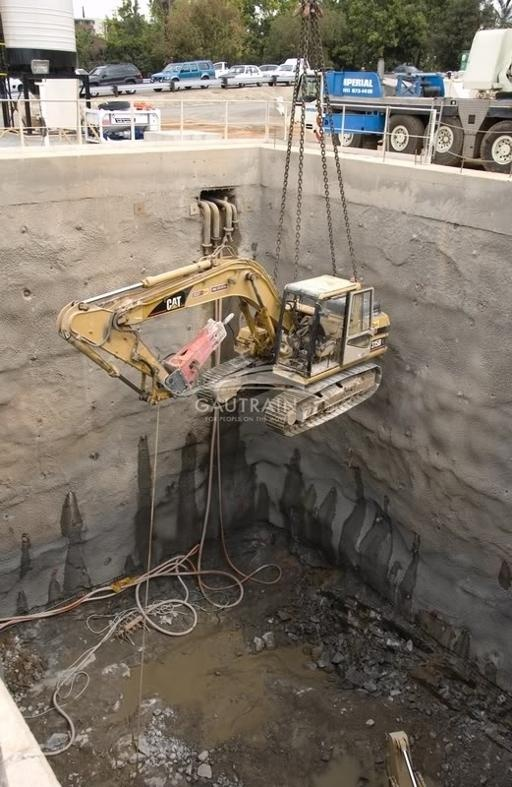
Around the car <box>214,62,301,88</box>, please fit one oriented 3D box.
[{"bbox_3d":[0.085,-17.829,31.003,3.938,1.296,1.802,0,23,-4],"label":"car"}]

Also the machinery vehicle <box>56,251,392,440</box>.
[{"bbox_3d":[-0.047,-0.772,8.439,5.006,2.598,1.796,-13,26,-30],"label":"machinery vehicle"}]

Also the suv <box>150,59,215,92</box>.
[{"bbox_3d":[-4.072,-18.346,31.863,3.820,2.007,5.224,-3,23,-10],"label":"suv"}]

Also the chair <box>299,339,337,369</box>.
[{"bbox_3d":[0.899,-0.665,8.525,0.413,0.446,0.734,17,27,34],"label":"chair"}]
